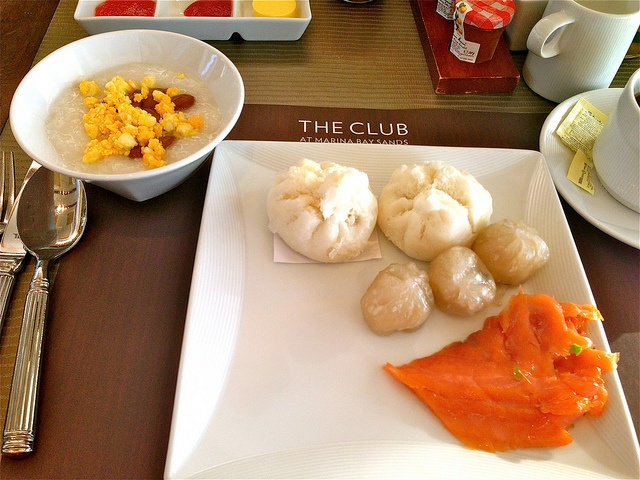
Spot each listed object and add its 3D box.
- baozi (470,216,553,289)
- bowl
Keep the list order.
[{"bbox_3d":[0.600,0.024,1.502,0.202,0.132,0.221,25,42,24],"label":"baozi"},{"bbox_3d":[-0.722,-0.383,1.695,0.602,0.256,0.679,2,60,-6],"label":"bowl"}]
